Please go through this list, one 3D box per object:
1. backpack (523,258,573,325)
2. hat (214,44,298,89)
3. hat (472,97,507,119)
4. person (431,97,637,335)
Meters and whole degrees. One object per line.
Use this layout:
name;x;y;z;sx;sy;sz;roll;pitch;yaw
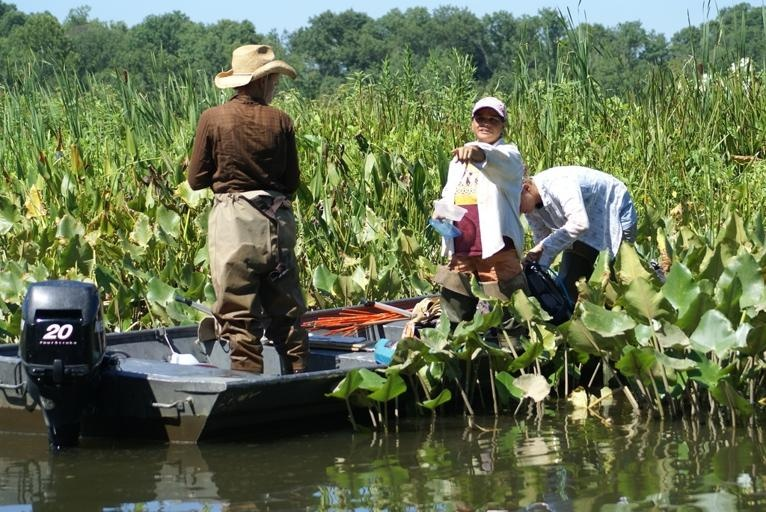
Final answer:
backpack;1.164;0.271;6.697;0.249;0.361;0.335;9;27;-31
hat;-0.877;-1.302;6.455;0.355;0.186;0.417;3;15;42
hat;0.752;-1.033;6.543;0.155;0.114;0.220;-1;-24;13
person;0.995;-0.313;6.758;1.580;1.536;0.605;0;-3;-38
